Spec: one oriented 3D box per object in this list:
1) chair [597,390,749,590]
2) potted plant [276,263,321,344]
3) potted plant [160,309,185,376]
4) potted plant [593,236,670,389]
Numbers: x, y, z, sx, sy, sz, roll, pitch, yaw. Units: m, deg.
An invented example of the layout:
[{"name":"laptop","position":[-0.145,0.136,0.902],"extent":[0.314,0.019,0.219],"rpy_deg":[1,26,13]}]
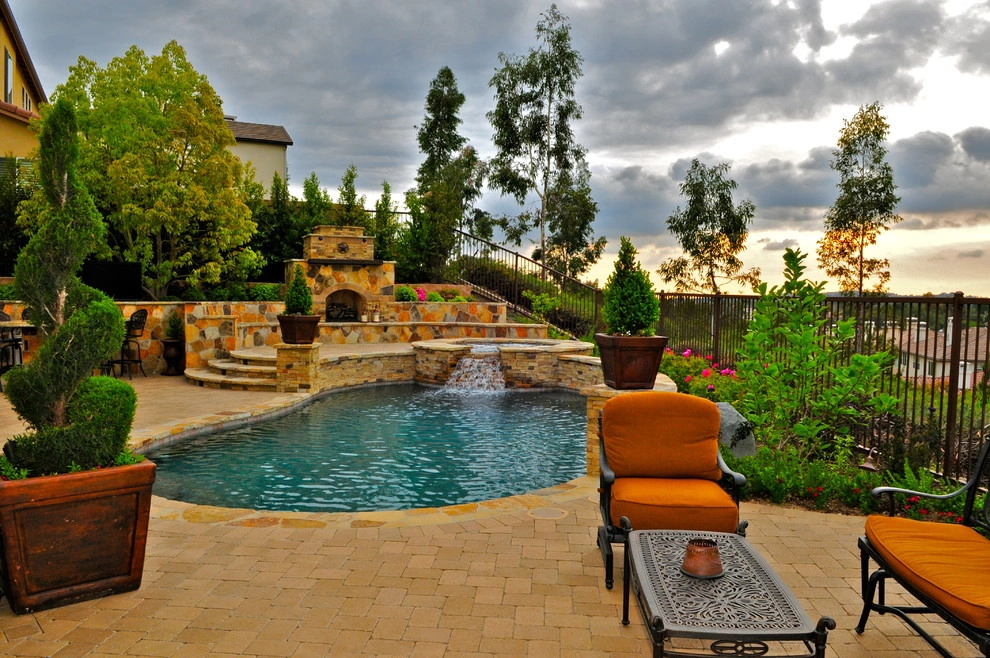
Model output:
[{"name":"chair","position":[1.918,1.501,7.194],"extent":[1.648,1.908,1.818],"rpy_deg":[0,-6,1]},{"name":"potted plant","position":[-4.184,-0.440,13.948],"extent":[0.788,1.607,1.156],"rpy_deg":[0,5,-15]},{"name":"potted plant","position":[-7.773,0.356,15.806],"extent":[0.481,1.529,0.598],"rpy_deg":[-2,6,-27]},{"name":"potted plant","position":[1.834,-0.188,8.733],"extent":[0.907,2.041,0.676],"rpy_deg":[2,6,13]}]
